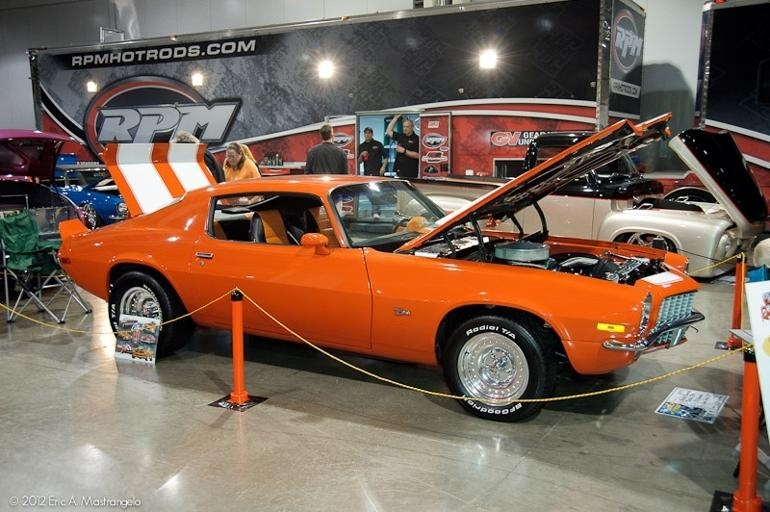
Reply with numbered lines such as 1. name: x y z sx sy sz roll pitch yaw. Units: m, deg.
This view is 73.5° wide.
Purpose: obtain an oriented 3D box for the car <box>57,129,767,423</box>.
1. car: 0.352 0.022 5.828 7.205 2.168 2.667 2 9 20

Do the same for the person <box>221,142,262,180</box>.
1. person: -2.572 -1.651 9.261 1.009 0.673 0.586 11 16 43
